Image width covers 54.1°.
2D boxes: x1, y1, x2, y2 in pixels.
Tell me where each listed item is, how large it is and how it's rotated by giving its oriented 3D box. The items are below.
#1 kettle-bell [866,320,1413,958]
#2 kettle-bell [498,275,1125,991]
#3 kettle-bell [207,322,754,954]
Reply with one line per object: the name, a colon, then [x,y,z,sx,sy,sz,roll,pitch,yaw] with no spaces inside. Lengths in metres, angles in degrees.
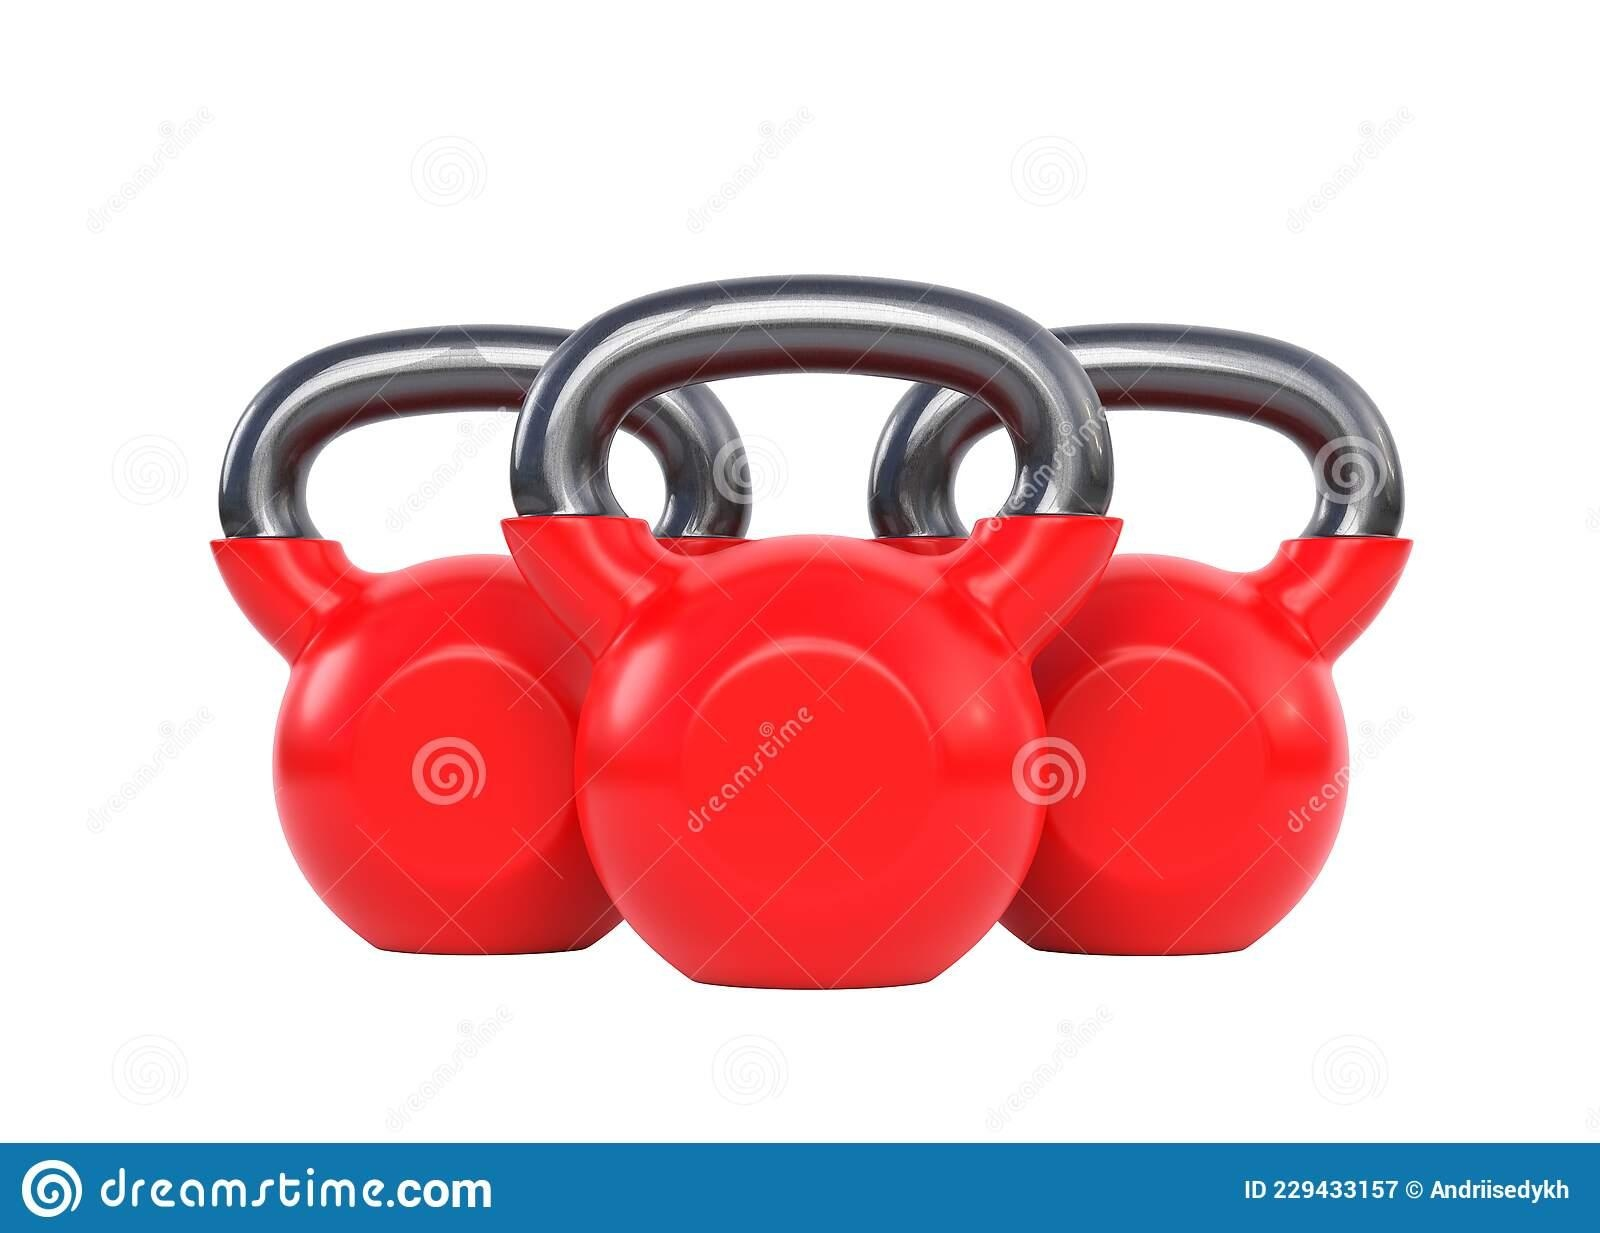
kettle-bell: [0.558,0.094,2.784,1.157,0.679,1.304,0,84,-3]
kettle-bell: [0.017,0.082,2.656,1.197,0.723,1.293,0,85,-1]
kettle-bell: [-0.532,0.096,2.789,1.151,0.678,1.293,0,83,1]
